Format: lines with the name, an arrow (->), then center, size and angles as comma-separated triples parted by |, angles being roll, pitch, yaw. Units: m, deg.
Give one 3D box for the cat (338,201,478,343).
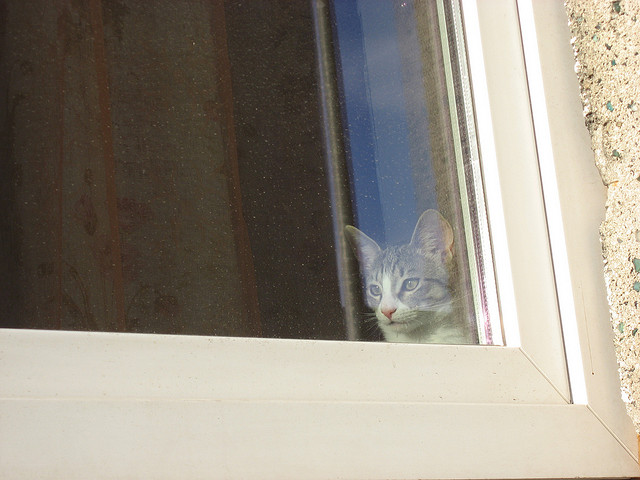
cat -> 0.174, 0.055, 1.749 | 0.169, 0.199, 0.252 | -8, 2, 41
